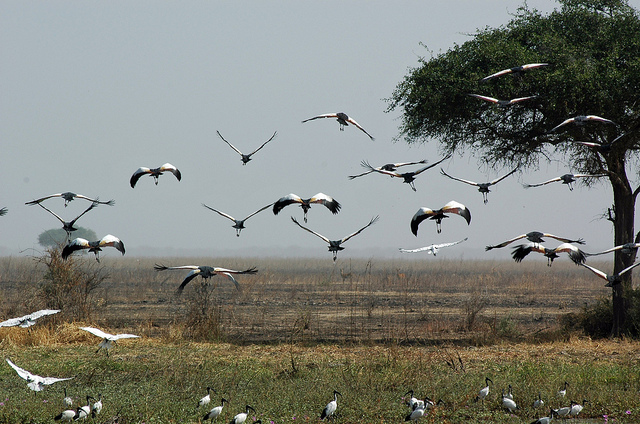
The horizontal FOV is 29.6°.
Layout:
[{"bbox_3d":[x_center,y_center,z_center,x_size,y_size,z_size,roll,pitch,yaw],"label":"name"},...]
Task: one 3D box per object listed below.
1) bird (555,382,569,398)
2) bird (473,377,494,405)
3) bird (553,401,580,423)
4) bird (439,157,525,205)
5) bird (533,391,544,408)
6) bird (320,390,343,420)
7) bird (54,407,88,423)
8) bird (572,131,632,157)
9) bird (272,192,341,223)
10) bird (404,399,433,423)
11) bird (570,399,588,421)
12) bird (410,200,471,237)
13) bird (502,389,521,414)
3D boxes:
[{"bbox_3d":[9.481,6.910,47.365,0.390,0.531,0.747,1,6,10],"label":"bird"},{"bbox_3d":[6.414,6.887,47.431,0.598,1.042,1.862,1,6,11],"label":"bird"},{"bbox_3d":[9.423,7.561,46.176,0.982,0.796,0.363,0,1,3],"label":"bird"},{"bbox_3d":[6.021,-1.092,44.611,2.957,1.359,0.874,-6,-20,3],"label":"bird"},{"bbox_3d":[8.498,7.235,46.817,0.386,0.613,0.522,1,6,9],"label":"bird"},{"bbox_3d":[0.390,7.280,46.450,0.672,1.098,1.518,0,6,2],"label":"bird"},{"bbox_3d":[-9.395,7.523,45.370,1.323,0.838,0.440,5,-3,4],"label":"bird"},{"bbox_3d":[12.340,-3.009,52.128,2.947,0.782,1.495,-8,-3,-12],"label":"bird"},{"bbox_3d":[-0.572,-0.191,51.605,3.096,1.209,1.157,0,-2,7],"label":"bird"},{"bbox_3d":[3.666,7.515,45.951,0.743,0.946,1.063,1,6,13],"label":"bird"},{"bbox_3d":[10.010,7.438,46.507,1.054,0.861,0.355,1,7,-25],"label":"bird"},{"bbox_3d":[5.086,0.272,50.701,2.755,1.085,1.226,-11,11,21],"label":"bird"},{"bbox_3d":[7.510,7.297,46.534,0.877,0.996,0.388,-9,-28,19],"label":"bird"}]
